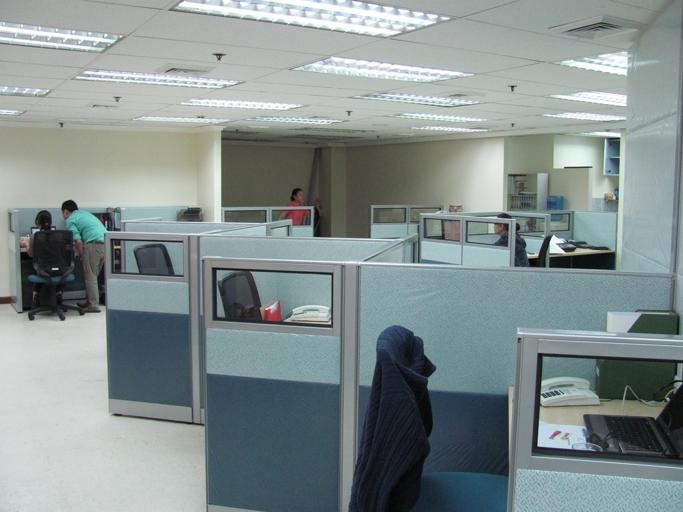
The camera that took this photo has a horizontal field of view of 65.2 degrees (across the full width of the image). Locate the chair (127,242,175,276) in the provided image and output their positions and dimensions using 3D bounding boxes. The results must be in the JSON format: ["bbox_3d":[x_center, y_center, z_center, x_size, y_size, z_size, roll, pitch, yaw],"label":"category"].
[{"bbox_3d":[-1.618,0.041,4.524,0.240,0.253,0.447,3,9,12],"label":"chair"}]

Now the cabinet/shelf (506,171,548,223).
[{"bbox_3d":[3.340,-1.150,9.474,0.757,0.677,0.489,1,9,1],"label":"cabinet/shelf"}]

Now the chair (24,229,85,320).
[{"bbox_3d":[-3.900,0.220,7.188,0.657,1.198,0.794,-5,10,-30],"label":"chair"}]

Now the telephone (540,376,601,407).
[{"bbox_3d":[0.974,0.580,2.272,0.283,0.062,0.277,0,1,4],"label":"telephone"}]

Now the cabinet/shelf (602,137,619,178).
[{"bbox_3d":[5.258,-1.918,10.327,0.262,0.763,0.525,5,10,24],"label":"cabinet/shelf"}]

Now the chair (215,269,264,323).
[{"bbox_3d":[-0.598,0.246,3.270,0.210,0.308,0.487,3,9,14],"label":"chair"}]

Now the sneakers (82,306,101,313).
[{"bbox_3d":[-3.480,0.743,7.445,0.086,0.095,0.247,8,12,20],"label":"sneakers"}]

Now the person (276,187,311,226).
[{"bbox_3d":[-0.706,-0.752,8.152,0.407,0.502,1.191,0,9,-6],"label":"person"}]

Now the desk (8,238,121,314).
[{"bbox_3d":[-3.617,0.238,6.823,1.092,0.745,0.571,-2,4,-34],"label":"desk"}]
